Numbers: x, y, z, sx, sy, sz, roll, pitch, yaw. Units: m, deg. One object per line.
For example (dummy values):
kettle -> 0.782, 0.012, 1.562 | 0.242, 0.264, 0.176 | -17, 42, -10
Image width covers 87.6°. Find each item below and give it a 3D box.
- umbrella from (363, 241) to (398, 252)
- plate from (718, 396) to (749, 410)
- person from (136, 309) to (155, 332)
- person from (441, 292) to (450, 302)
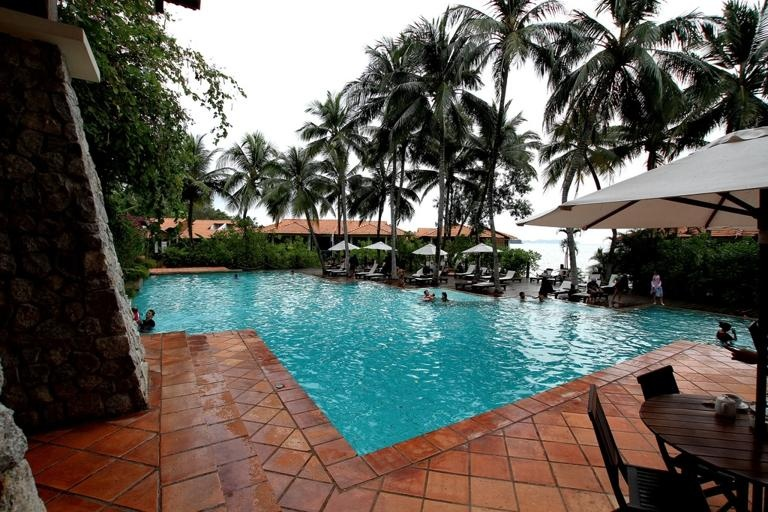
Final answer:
umbrella -> -0.412, -0.694, 28.782 | 1.324, 0.697, 5.042 | 2, 0, -5
plate -> 4.489, 1.904, 5.130 | 0.210, 0.068, 0.193 | 6, -9, -3
person -> -6.966, 1.958, 11.888 | 0.401, 0.725, 1.076 | 2, 1, -31
person -> 2.564, 1.767, 17.031 | 0.318, 0.401, 1.062 | 3, 0, 9
